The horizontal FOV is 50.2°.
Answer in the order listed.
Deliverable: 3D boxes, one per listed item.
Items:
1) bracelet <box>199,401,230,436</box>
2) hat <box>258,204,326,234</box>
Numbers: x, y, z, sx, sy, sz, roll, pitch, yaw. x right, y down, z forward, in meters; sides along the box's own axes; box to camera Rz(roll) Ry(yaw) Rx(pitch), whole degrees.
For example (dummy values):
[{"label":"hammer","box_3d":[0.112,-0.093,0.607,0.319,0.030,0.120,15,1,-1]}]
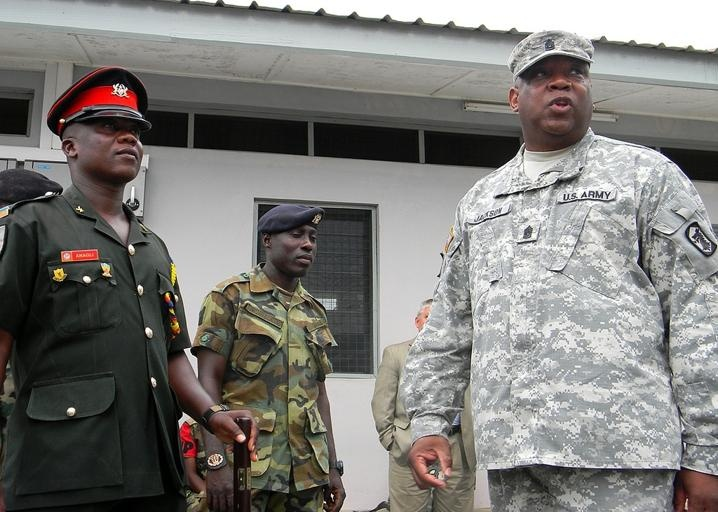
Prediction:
[{"label":"bracelet","box_3d":[-0.654,0.728,3.482,0.142,0.141,0.086,-17,37,-29]},{"label":"hat","box_3d":[-0.461,-0.235,4.887,0.266,0.091,0.245,-8,-6,29]}]
